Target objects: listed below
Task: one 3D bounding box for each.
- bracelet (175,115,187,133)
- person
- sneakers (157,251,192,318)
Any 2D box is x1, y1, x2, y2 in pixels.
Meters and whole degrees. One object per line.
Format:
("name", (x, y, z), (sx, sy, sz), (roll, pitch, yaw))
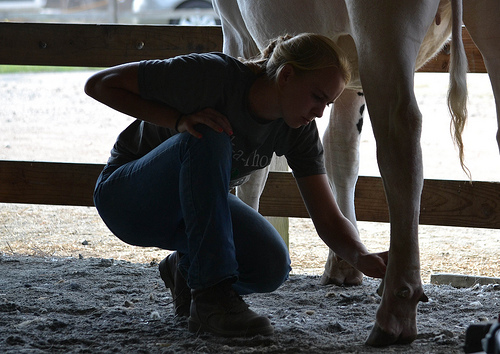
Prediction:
("bracelet", (-0.304, -0.225, 3.582), (0.016, 0.064, 0.067), (10, 13, 23))
("person", (0.016, 0.054, 3.732), (1.421, 1.359, 0.890), (-1, -15, 7))
("sneakers", (-0.351, 0.494, 3.811), (0.113, 0.338, 0.149), (-12, -8, -27))
